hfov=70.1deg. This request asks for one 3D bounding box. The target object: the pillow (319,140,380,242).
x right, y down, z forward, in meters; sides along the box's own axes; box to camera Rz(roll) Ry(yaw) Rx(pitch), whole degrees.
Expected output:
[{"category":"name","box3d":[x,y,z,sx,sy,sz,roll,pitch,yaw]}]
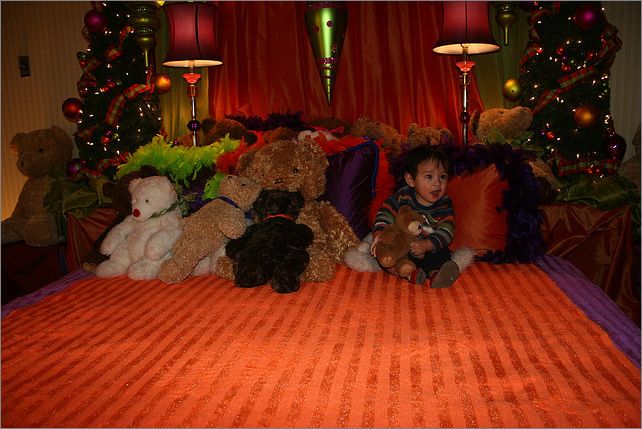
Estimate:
[{"category":"pillow","box3d":[0.108,-0.180,2.270,0.318,0.421,0.109,-17,41,0]}]

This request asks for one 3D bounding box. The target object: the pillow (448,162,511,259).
[{"category":"pillow","box3d":[0.690,-0.022,1.991,0.336,0.379,0.115,-8,2,19]}]

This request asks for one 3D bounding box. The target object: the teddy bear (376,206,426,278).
[{"category":"teddy bear","box3d":[0.366,0.105,1.971,0.199,0.276,0.207,31,9,24]}]

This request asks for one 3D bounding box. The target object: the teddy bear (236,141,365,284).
[{"category":"teddy bear","box3d":[-0.139,0.004,2.273,0.571,0.639,0.506,-22,-15,32]}]

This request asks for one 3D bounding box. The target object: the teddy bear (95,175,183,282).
[{"category":"teddy bear","box3d":[-0.808,0.063,2.075,0.347,0.468,0.348,10,13,23]}]

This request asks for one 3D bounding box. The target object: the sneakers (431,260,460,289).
[{"category":"sneakers","box3d":[0.513,0.251,1.913,0.135,0.077,0.053,-44,7,1]}]
